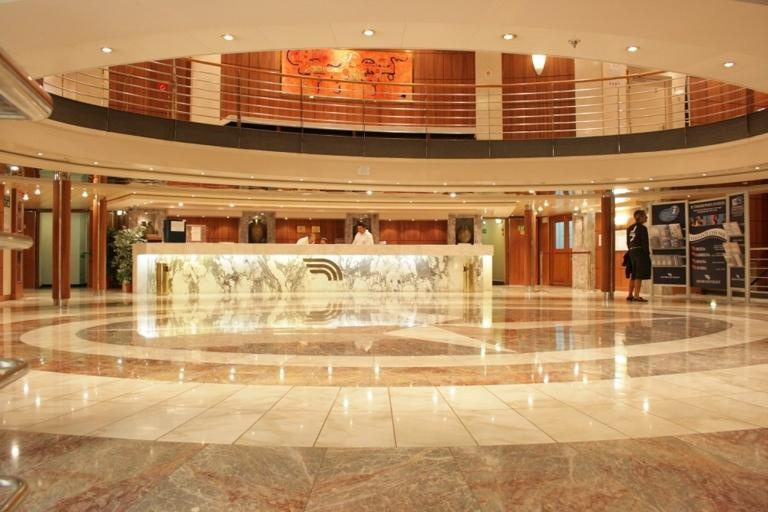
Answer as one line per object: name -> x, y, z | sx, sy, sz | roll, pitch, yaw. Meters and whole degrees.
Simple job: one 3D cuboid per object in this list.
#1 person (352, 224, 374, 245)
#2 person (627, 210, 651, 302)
person -> -0.669, -0.674, 17.367 | 0.663, 0.718, 1.981 | 0, -2, -2
person -> 6.485, -0.001, 13.908 | 0.544, 2.334, 1.401 | 0, -2, 23
